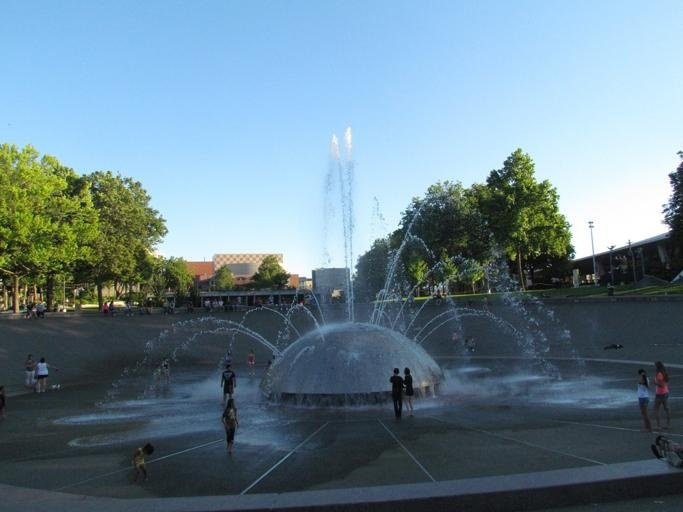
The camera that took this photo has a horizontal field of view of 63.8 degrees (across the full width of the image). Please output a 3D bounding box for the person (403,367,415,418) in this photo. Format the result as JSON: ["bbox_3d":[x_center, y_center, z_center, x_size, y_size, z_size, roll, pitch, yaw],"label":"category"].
[{"bbox_3d":[2.042,4.149,16.827,0.234,1.257,0.547,-2,-1,4],"label":"person"}]

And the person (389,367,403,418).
[{"bbox_3d":[1.718,4.148,16.794,0.367,1.307,0.922,-2,-1,6],"label":"person"}]

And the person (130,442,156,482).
[{"bbox_3d":[-4.695,4.907,12.997,0.514,0.986,0.531,-12,-10,13],"label":"person"}]
